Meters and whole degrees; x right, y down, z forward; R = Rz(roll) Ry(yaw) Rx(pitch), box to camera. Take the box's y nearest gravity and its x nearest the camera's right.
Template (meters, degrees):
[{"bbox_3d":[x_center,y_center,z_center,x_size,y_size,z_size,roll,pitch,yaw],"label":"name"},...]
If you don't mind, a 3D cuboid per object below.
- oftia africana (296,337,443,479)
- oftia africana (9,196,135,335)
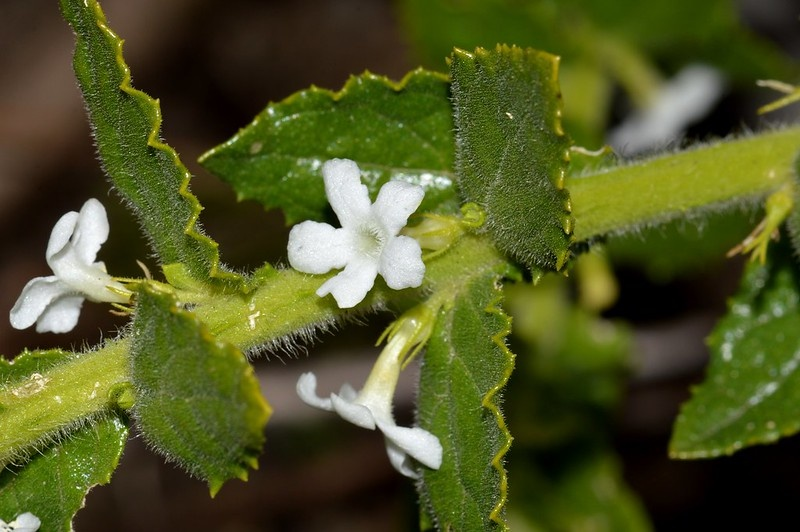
[{"bbox_3d":[-0.114,0.588,3.244,0.432,0.433,0.520,-23,67,-6],"label":"oftia africana"},{"bbox_3d":[-1.300,0.049,3.297,0.461,0.443,0.416,-20,66,-5],"label":"oftia africana"}]
